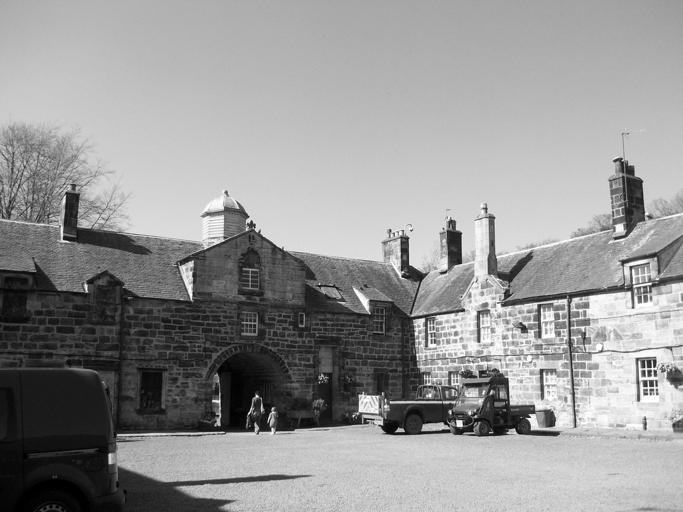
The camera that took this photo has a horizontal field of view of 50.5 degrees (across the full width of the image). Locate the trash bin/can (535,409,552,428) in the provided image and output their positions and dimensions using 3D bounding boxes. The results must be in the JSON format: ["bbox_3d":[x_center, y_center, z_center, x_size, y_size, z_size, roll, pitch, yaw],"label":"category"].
[{"bbox_3d":[8.477,6.811,30.333,0.789,0.708,0.684,-1,-13,3],"label":"trash bin/can"}]

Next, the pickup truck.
[{"bbox_3d":[2.762,6.291,29.158,3.782,1.580,1.980,0,-5,-26],"label":"pickup truck"}]

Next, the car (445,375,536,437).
[{"bbox_3d":[5.704,5.845,28.047,2.895,2.057,1.972,10,-16,-37],"label":"car"}]

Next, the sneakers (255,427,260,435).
[{"bbox_3d":[-3.479,7.322,30.086,0.192,0.273,0.391,0,-15,-7],"label":"sneakers"}]
